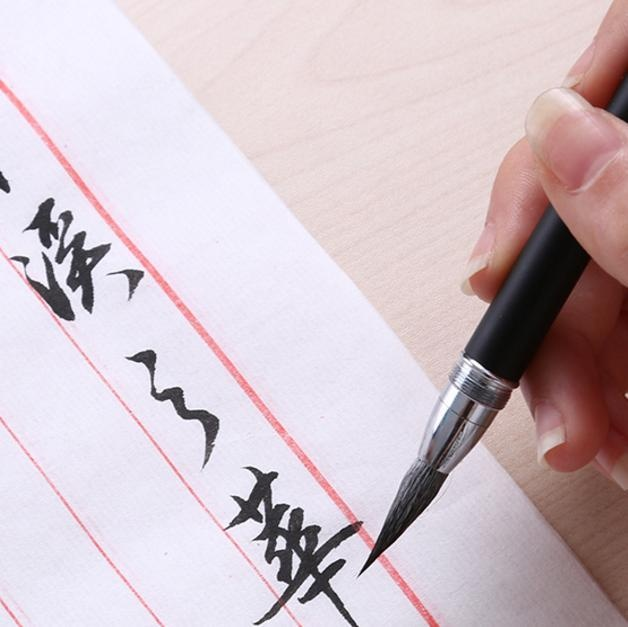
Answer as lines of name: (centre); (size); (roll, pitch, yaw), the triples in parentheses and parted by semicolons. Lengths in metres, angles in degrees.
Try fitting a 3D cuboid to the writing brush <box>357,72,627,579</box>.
writing brush: (0.111, 0.020, 0.528); (0.403, 0.047, 0.043); (-51, 1, -2)
